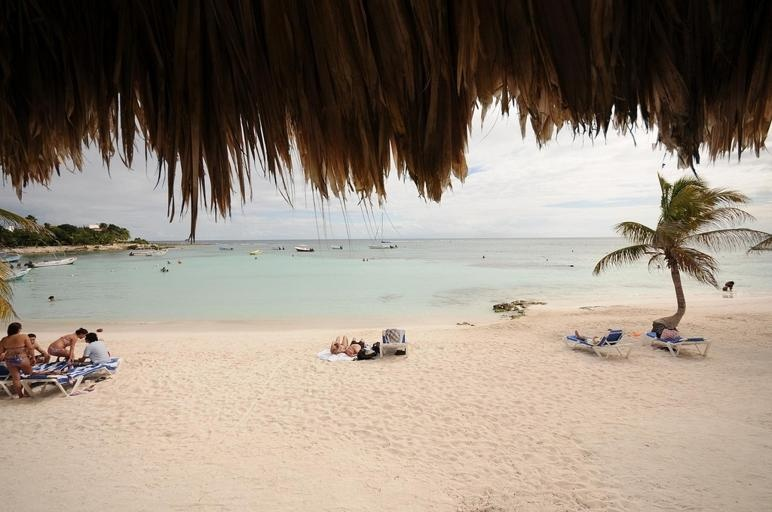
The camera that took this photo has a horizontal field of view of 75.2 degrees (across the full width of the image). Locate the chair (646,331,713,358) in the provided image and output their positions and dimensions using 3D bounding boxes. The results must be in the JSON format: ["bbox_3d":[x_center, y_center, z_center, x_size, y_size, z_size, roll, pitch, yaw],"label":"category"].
[{"bbox_3d":[7.857,2.348,13.039,1.280,0.316,0.687,-3,6,-5],"label":"chair"}]

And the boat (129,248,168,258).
[{"bbox_3d":[-38.881,-0.568,81.630,5.561,1.179,1.607,1,13,22],"label":"boat"}]

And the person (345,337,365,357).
[{"bbox_3d":[-0.895,2.529,13.875,0.602,0.355,1.079,3,1,0],"label":"person"}]

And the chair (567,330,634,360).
[{"bbox_3d":[5.659,2.293,13.278,0.796,0.660,1.466,-1,-2,-25],"label":"chair"}]

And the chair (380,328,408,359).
[{"bbox_3d":[0.185,2.386,13.854,0.627,0.694,0.287,2,-23,-2],"label":"chair"}]
